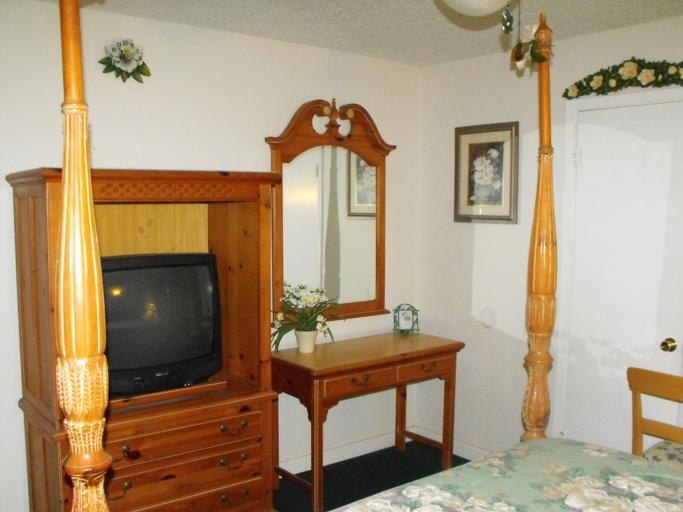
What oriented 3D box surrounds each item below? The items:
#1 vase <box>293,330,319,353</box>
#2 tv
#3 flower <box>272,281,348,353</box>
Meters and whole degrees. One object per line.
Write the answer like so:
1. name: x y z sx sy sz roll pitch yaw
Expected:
1. vase: -0.244 0.573 3.860 0.153 0.131 0.149 0 -1 -6
2. tv: -1.012 0.370 3.107 0.741 0.720 0.420 -4 4 -38
3. flower: -0.241 0.406 3.914 0.464 0.348 0.449 2 1 -43
